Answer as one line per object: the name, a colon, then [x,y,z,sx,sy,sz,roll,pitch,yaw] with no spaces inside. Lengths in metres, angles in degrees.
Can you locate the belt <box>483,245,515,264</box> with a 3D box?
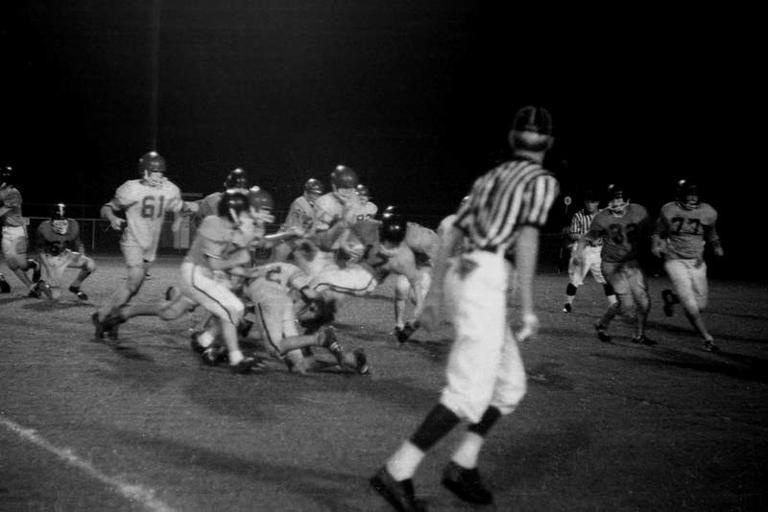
belt: [0.868,-0.002,4.846,0.249,0.135,0.067,-1,5,-31]

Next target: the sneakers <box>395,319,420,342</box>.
sneakers: [0.362,1.151,10.020,0.138,0.392,0.271,40,-5,22]

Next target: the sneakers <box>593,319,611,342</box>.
sneakers: [3.649,1.232,10.845,0.165,0.272,0.512,11,13,-10]

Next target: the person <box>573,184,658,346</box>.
person: [3.875,0.120,10.729,1.119,2.512,0.591,3,4,21]

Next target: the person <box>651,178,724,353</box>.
person: [4.719,0.114,10.248,1.019,2.572,1.032,4,4,23]

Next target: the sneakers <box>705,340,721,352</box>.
sneakers: [4.942,1.341,9.917,0.219,0.202,0.372,3,4,26]

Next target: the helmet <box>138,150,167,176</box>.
helmet: [-3.691,-1.466,10.512,0.455,0.417,0.545,-1,13,-17]

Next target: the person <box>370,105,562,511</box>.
person: [0.704,0.339,5.100,1.145,3.096,1.323,3,4,16]

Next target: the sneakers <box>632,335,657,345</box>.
sneakers: [4.161,1.351,10.529,0.402,0.145,0.138,1,11,18]
